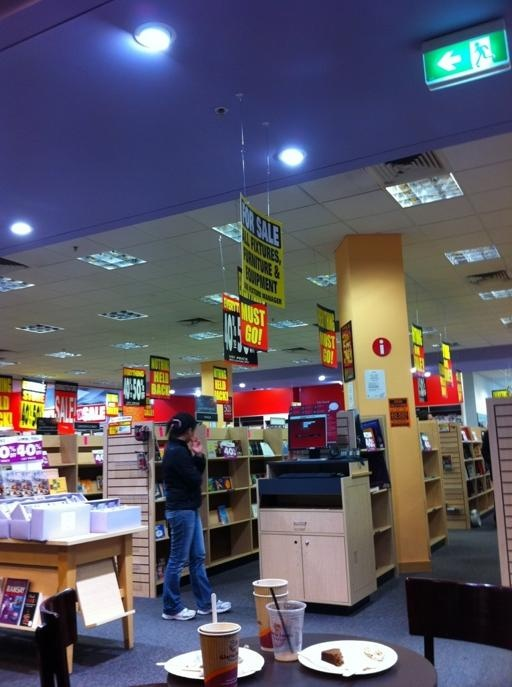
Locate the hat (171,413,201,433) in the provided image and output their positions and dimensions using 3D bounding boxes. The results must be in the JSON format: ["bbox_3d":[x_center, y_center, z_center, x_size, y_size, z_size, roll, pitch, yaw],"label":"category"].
[{"bbox_3d":[-0.685,0.768,5.021,0.169,0.177,0.241,-28,0,33],"label":"hat"}]

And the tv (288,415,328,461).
[{"bbox_3d":[0.546,0.974,5.288,0.455,0.460,0.165,-7,-25,23],"label":"tv"}]

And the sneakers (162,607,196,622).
[{"bbox_3d":[-0.717,2.545,4.737,0.293,0.135,0.113,-3,-20,5],"label":"sneakers"}]

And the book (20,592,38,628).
[{"bbox_3d":[-1.646,1.948,3.700,0.088,0.220,0.163,9,-16,-41],"label":"book"}]

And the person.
[{"bbox_3d":[-0.661,1.638,4.857,0.487,1.910,0.479,5,-14,-29],"label":"person"}]

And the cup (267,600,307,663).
[{"bbox_3d":[0.066,0.645,1.164,0.129,0.146,0.118,0,-19,0],"label":"cup"}]
